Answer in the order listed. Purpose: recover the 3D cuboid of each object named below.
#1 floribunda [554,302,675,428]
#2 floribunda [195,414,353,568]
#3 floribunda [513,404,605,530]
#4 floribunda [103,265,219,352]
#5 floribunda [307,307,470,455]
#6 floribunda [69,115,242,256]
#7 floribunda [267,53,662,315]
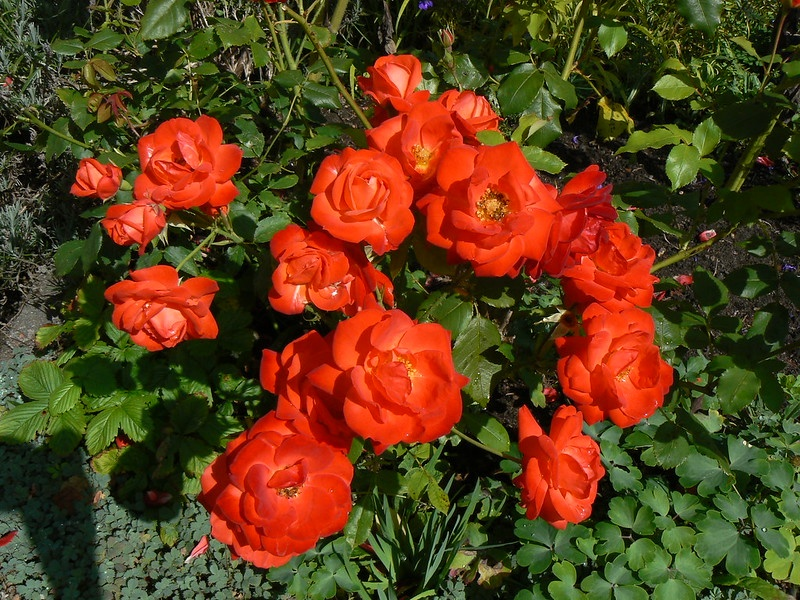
[{"bbox_3d":[0.531,0.160,1.548,0.306,0.152,0.305,17,94,0],"label":"floribunda"},{"bbox_3d":[-0.252,0.393,1.442,0.358,0.172,0.348,-29,102,0],"label":"floribunda"},{"bbox_3d":[0.375,0.439,1.620,0.295,0.144,0.300,-11,82,-24],"label":"floribunda"},{"bbox_3d":[-0.582,0.019,1.470,0.251,0.129,0.188,-3,73,-5],"label":"floribunda"},{"bbox_3d":[-0.024,0.163,1.262,0.329,0.097,0.269,15,73,0],"label":"floribunda"},{"bbox_3d":[-0.581,-0.286,1.499,0.374,0.219,0.231,-30,77,-12],"label":"floribunda"},{"bbox_3d":[0.152,-0.275,1.472,0.932,0.378,0.609,0,73,-4],"label":"floribunda"}]
